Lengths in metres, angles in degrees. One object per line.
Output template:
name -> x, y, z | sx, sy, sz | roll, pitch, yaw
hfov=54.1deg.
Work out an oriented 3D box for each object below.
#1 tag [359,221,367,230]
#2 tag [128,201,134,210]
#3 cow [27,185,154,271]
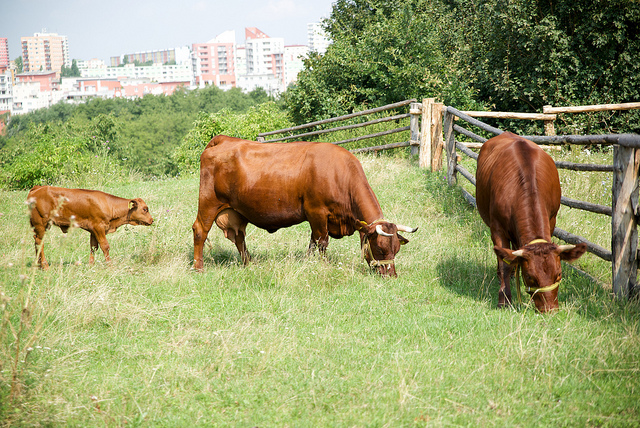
tag -> 0.618, 0.158, 8.993 | 0.020, 0.092, 0.095 | 22, 46, 8
tag -> -3.086, -0.153, 10.252 | 0.084, 0.136, 0.043 | 3, -5, -36
cow -> -3.662, 0.101, 10.044 | 1.764, 1.196, 0.914 | -10, 15, -29
